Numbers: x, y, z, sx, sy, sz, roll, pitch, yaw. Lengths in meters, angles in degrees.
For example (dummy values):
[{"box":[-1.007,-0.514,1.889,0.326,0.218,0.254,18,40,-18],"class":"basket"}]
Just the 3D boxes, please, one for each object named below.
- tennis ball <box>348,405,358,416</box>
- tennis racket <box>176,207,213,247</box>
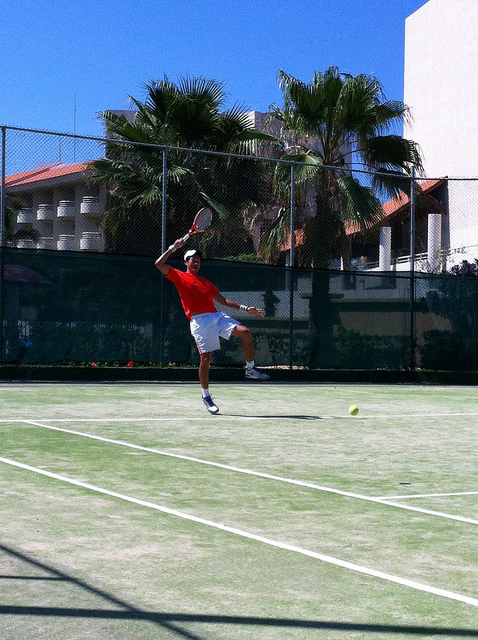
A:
[{"box":[1.137,0.893,8.700,0.075,0.079,0.153,1,-3,13],"class":"tennis ball"},{"box":[-0.414,-1.020,9.613,0.064,0.210,0.733,-42,9,29],"class":"tennis racket"}]
